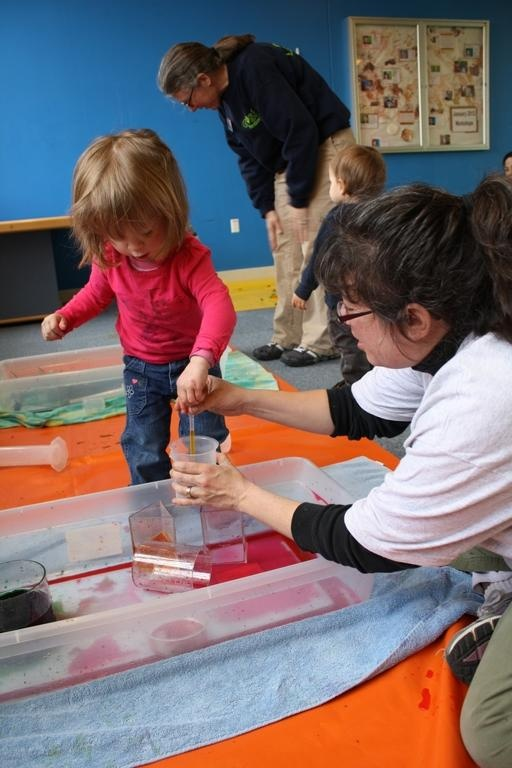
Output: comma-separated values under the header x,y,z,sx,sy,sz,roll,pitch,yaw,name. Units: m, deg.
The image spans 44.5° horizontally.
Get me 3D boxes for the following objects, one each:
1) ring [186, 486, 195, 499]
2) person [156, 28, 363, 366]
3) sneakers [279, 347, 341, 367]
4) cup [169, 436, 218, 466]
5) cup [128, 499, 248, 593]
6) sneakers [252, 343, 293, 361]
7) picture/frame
x,y,z,sx,sy,sz,roll,pitch,yaw,name
-0.106,0.173,1.013,0.021,0.019,0.017,2,9,4,ring
0.039,-0.729,2.520,0.812,1.251,0.592,-6,9,-10,person
0.254,-0.128,2.829,0.264,0.100,0.091,2,6,-23,sneakers
-0.117,0.125,1.206,0.077,0.048,0.079,-1,15,0,cup
-0.137,0.301,1.246,0.212,0.130,0.214,-1,4,0,cup
0.060,-0.152,2.891,0.203,0.078,0.069,-2,25,-24,sneakers
1.320,-2.319,4.864,1.312,0.964,0.211,-9,9,-24,picture/frame
